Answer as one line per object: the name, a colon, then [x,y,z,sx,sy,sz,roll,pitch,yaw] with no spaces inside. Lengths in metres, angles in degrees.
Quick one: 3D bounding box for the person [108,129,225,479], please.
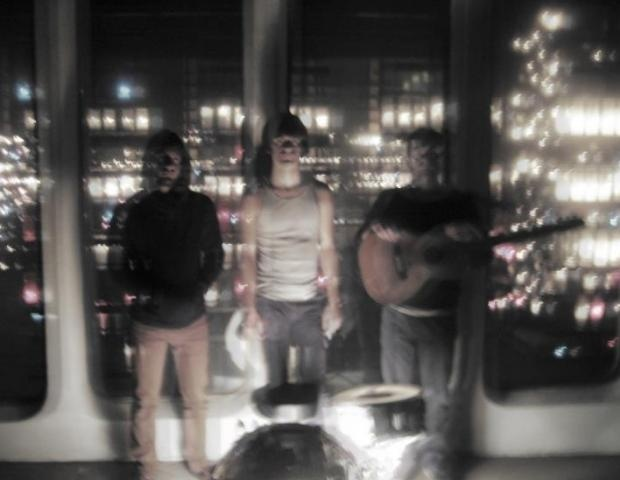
person: [-0.770,0.374,4.693,0.588,1.938,0.195,-2,8,-10]
